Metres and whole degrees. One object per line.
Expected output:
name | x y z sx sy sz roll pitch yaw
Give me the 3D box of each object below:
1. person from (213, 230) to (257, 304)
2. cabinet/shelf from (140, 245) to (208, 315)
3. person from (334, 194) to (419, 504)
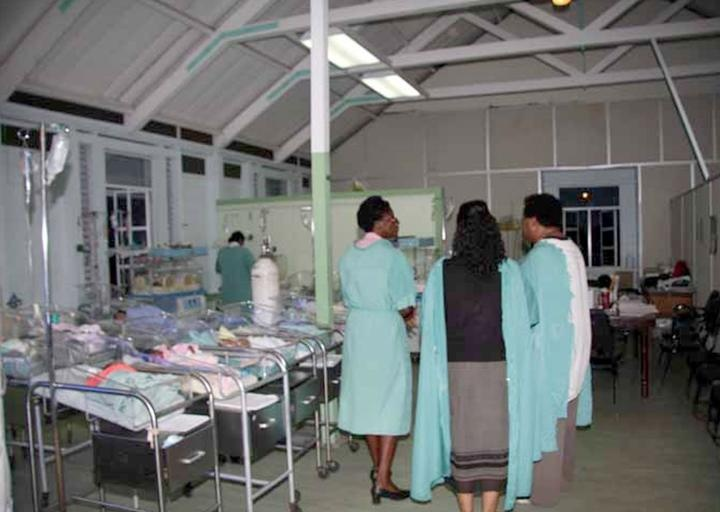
person | -1.562 0.150 7.528 0.463 0.914 0.657 -2 11 -9
cabinet/shelf | -2.321 0.235 7.341 0.743 1.095 0.786 1 2 23
person | 0.129 0.740 4.809 0.610 2.382 0.569 0 11 4
